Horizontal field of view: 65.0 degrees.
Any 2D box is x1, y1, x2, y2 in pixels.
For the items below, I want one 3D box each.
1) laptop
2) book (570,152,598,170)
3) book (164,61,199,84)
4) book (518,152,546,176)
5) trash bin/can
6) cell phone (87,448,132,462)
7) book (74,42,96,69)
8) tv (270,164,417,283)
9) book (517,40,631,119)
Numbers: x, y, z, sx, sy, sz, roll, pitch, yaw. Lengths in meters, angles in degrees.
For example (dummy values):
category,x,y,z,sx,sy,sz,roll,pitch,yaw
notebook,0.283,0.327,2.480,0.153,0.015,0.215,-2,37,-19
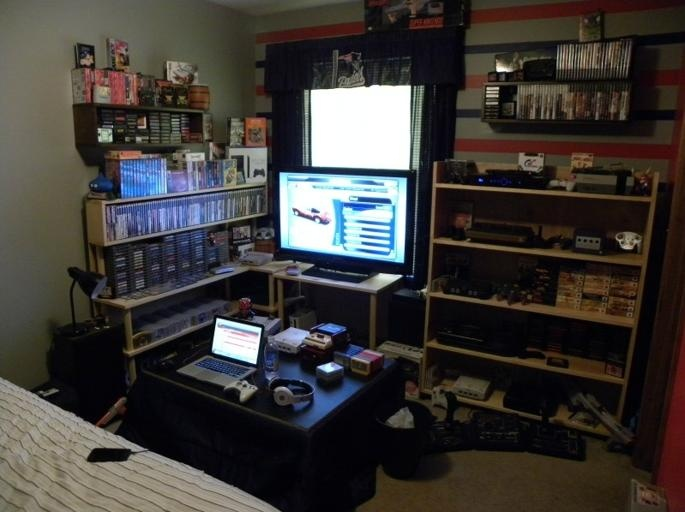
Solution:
category,x,y,z,sx,sy,sz,roll,pitch,yaw
laptop,-0.756,0.635,3.495,0.475,0.287,0.425,7,11,29
book,1.695,-0.662,3.804,0.128,0.110,0.139,6,18,14
book,-1.416,-1.594,4.671,0.045,0.158,0.266,10,16,35
book,1.384,-0.698,3.995,0.149,0.127,0.217,-1,18,-6
trash bin/can,0.384,1.171,3.722,0.393,0.415,0.530,7,28,24
cell phone,-1.184,1.004,2.705,0.219,0.023,0.119,3,6,-40
book,-1.933,-1.501,4.033,0.054,0.180,0.178,9,12,36
tv,0.046,-0.283,4.706,1.004,0.675,0.270,8,17,24
book,1.728,-1.275,3.950,0.627,0.495,0.201,5,10,28
